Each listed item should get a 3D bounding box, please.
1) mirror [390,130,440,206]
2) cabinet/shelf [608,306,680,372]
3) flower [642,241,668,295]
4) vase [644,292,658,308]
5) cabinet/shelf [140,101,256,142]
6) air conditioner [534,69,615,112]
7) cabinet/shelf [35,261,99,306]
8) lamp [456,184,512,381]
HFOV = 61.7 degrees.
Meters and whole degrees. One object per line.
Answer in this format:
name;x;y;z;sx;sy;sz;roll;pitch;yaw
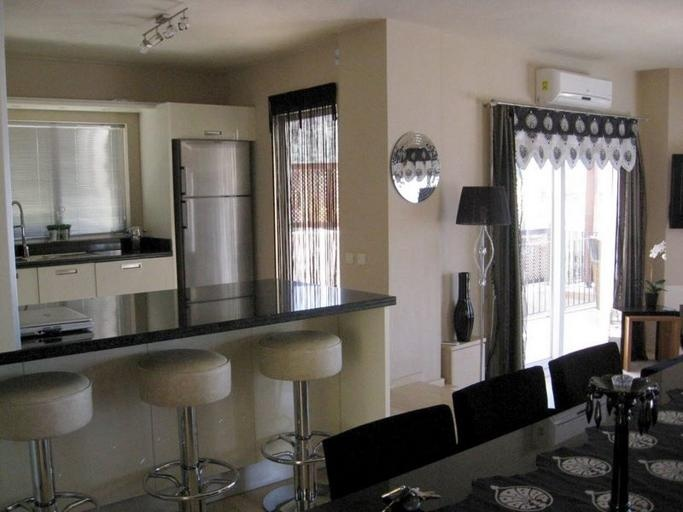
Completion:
mirror;0.631;-0.796;5.068;0.554;0.594;0.028;-17;15;-37
cabinet/shelf;3.086;0.826;5.839;0.657;0.723;0.700;2;6;23
flower;3.591;0.134;6.533;0.200;0.588;0.801;3;5;29
vase;3.390;0.479;6.279;0.131;0.184;0.099;2;5;10
cabinet/shelf;-1.601;-1.469;6.373;1.273;0.440;0.550;0;5;-9
air conditioner;2.472;-1.777;6.092;0.916;0.366;0.233;-1;5;-25
cabinet/shelf;-2.699;0.269;5.613;0.534;0.368;0.544;-3;4;-34
lamp;1.327;0.283;5.445;0.464;1.895;0.815;2;5;17
